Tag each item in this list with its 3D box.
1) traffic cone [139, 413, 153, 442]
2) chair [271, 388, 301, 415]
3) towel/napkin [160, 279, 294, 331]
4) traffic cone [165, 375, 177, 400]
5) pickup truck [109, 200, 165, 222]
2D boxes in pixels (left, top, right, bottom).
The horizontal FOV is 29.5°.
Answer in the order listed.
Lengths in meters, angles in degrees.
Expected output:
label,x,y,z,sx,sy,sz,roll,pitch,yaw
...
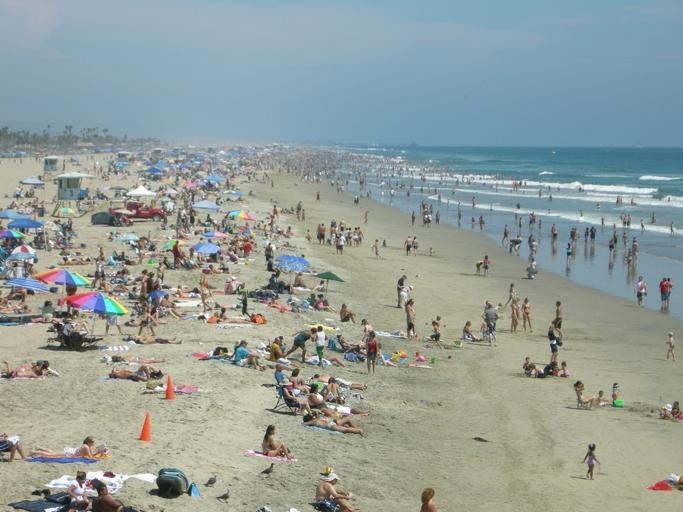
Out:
label,x,y,z,sx,sy,sz,roll,pitch,yaw
traffic cone,-6.574,5.713,43.862,0.389,0.889,0.814,4,11,-8
chair,-1.928,5.122,46.172,1.015,0.991,0.829,1,3,10
towel/napkin,-4.914,2.470,53.001,5.249,1.456,3.118,-6,11,-17
traffic cone,-6.007,4.553,45.914,0.345,0.807,1.012,4,11,-7
pickup truck,-11.245,-2.395,72.504,2.661,1.183,1.472,-2,5,-12
